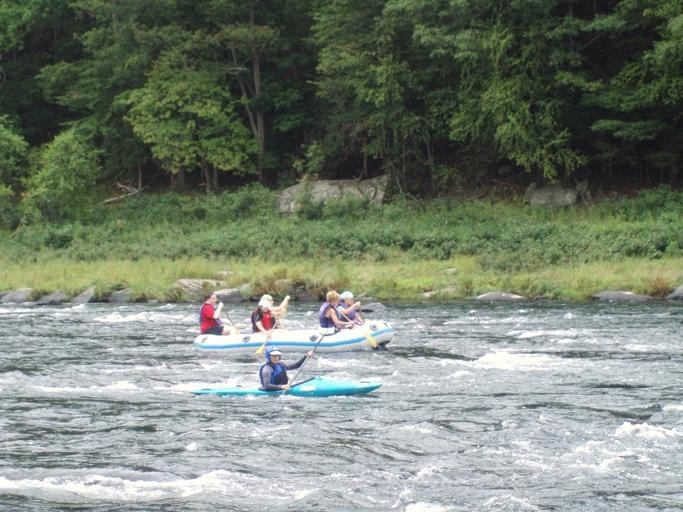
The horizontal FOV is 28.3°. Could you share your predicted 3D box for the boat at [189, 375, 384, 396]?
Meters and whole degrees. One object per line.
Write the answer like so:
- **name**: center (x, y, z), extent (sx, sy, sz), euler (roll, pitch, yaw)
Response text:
- **boat**: center (-1.623, 4.809, 48.468), extent (6.058, 0.606, 0.402), euler (-2, 8, 2)
